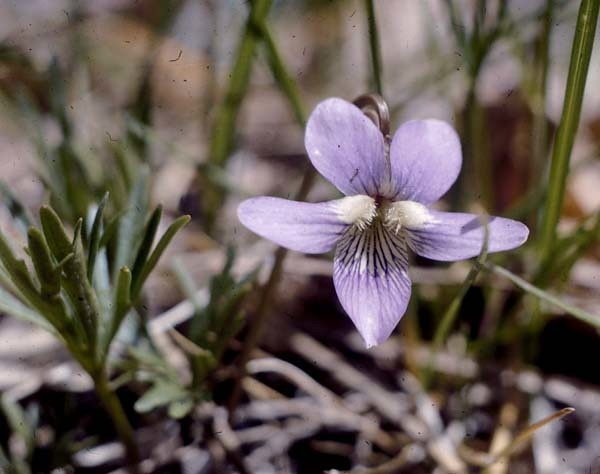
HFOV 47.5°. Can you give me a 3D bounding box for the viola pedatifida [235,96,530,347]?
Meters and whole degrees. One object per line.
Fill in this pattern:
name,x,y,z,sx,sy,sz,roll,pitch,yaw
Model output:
viola pedatifida,0.126,-0.031,1.170,0.428,0.235,0.554,3,48,0
